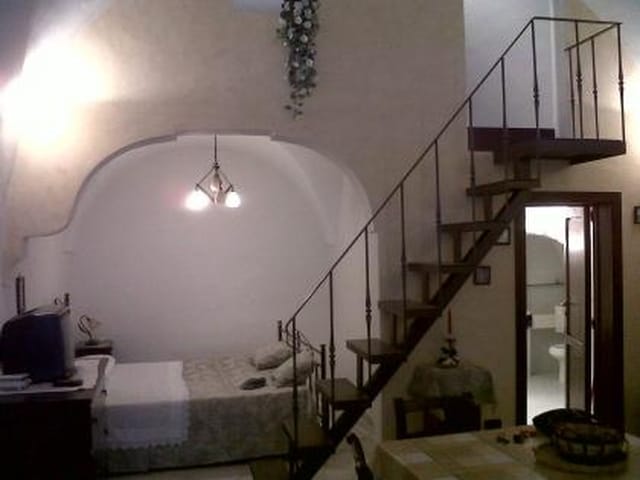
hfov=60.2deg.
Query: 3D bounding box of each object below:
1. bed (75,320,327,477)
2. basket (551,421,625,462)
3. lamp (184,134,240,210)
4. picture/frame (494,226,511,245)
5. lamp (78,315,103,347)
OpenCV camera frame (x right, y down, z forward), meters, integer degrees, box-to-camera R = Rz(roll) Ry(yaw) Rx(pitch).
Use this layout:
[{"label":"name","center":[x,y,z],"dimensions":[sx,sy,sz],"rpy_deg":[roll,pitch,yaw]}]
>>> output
[{"label":"bed","center":[-1.240,1.795,5.712],"dimensions":[1.857,0.959,2.310],"rpy_deg":[1,-5,-19]},{"label":"basket","center":[1.742,1.323,3.631],"dimensions":[0.280,0.130,0.293],"rpy_deg":[4,-16,-32]},{"label":"lamp","center":[-1.323,-0.923,7.166],"dimensions":[0.574,0.887,0.606],"rpy_deg":[0,5,11]},{"label":"picture/frame","center":[1.750,-0.048,5.332],"dimensions":[0.163,0.203,0.020],"rpy_deg":[-2,10,-12]},{"label":"lamp","center":[-2.939,1.143,7.054],"dimensions":[0.257,0.399,0.198],"rpy_deg":[-4,8,-13]}]
